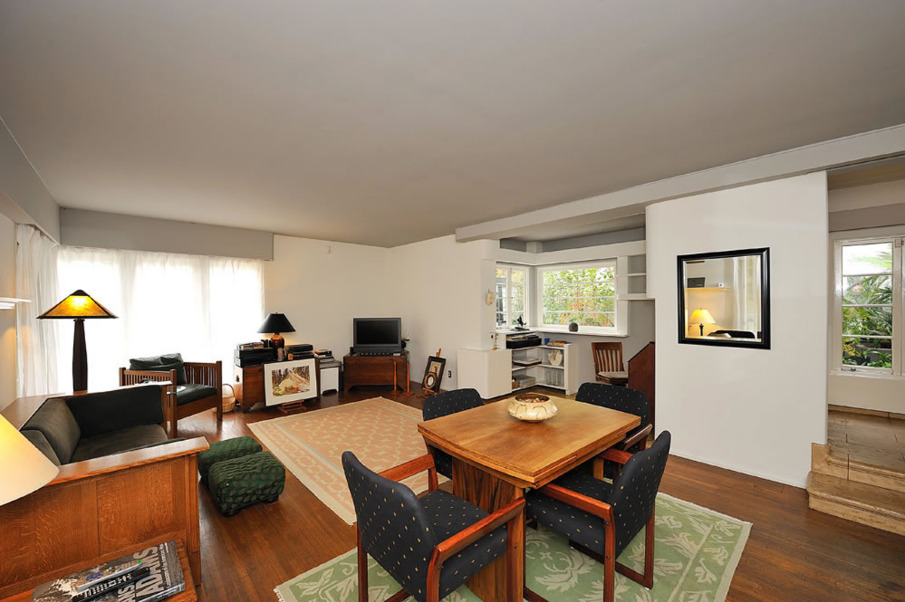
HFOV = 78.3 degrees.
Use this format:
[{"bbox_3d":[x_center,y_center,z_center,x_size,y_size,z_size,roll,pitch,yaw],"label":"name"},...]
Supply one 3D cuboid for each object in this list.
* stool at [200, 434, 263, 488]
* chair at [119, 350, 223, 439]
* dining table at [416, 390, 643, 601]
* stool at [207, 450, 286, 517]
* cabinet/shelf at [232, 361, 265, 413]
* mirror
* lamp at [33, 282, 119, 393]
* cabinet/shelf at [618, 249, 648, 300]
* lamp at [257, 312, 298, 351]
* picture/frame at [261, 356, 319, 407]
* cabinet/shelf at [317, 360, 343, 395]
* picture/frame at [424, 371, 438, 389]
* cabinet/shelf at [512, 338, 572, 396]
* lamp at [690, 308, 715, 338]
[{"bbox_3d":[-2.268,1.535,5.619,0.426,0.269,0.550,1,-1,43],"label":"stool"},{"bbox_3d":[-3.512,1.152,7.006,0.877,0.863,0.897,1,3,12],"label":"chair"},{"bbox_3d":[0.630,1.257,4.751,1.982,1.276,1.306,-1,-1,-44],"label":"dining table"},{"bbox_3d":[-2.011,1.655,5.278,0.556,0.344,0.507,0,0,-38],"label":"stool"},{"bbox_3d":[-2.803,1.198,7.907,0.429,0.513,0.553,4,5,40],"label":"cabinet/shelf"},{"bbox_3d":[2.875,-0.027,5.788,1.104,1.357,0.104,0,1,42],"label":"mirror"},{"bbox_3d":[-3.805,0.410,5.671,0.462,1.042,0.459,-2,-1,7],"label":"lamp"},{"bbox_3d":[2.611,-0.310,7.953,0.291,0.619,0.383,-10,0,-38],"label":"cabinet/shelf"},{"bbox_3d":[-2.550,0.405,8.153,0.523,0.651,0.516,-6,8,-37],"label":"lamp"},{"bbox_3d":[-2.359,1.162,7.931,0.726,0.596,0.049,3,-10,-40],"label":"picture/frame"},{"bbox_3d":[-1.905,1.184,8.615,0.452,0.566,0.443,-1,-1,-36],"label":"cabinet/shelf"},{"bbox_3d":[-0.337,1.260,8.763,0.219,0.222,0.057,17,-12,39],"label":"picture/frame"},{"bbox_3d":[1.444,1.048,8.778,0.974,0.786,0.853,-2,-1,36],"label":"cabinet/shelf"},{"bbox_3d":[2.676,0.245,5.944,0.250,0.387,0.254,-2,3,26],"label":"lamp"}]
